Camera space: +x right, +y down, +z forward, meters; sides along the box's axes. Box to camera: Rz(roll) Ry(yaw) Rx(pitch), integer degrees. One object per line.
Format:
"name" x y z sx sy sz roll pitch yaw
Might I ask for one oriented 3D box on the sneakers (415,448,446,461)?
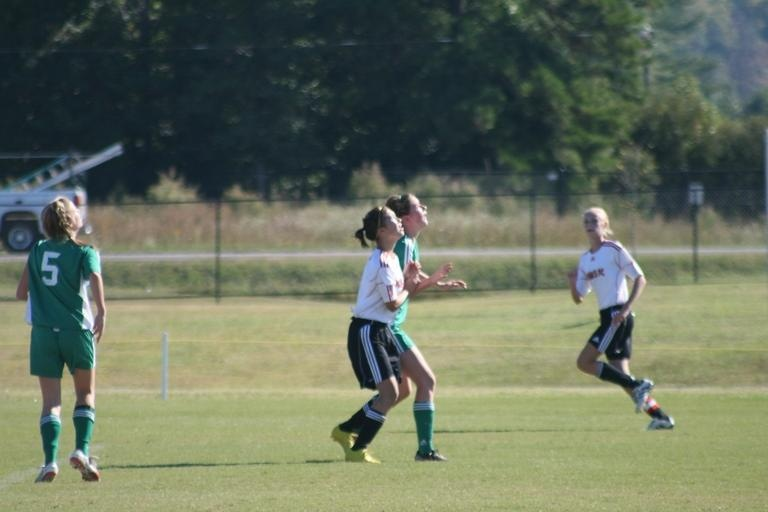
"sneakers" 0.624 2.770 24.916 0.485 0.184 0.151 1 -2 -2

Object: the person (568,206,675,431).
"person" 3.294 0.935 25.914 1.271 3.155 0.557 -3 2 8

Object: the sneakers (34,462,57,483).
"sneakers" -4.451 2.936 24.320 0.159 0.168 0.420 1 -26 -41

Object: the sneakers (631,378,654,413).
"sneakers" 3.661 1.998 25.802 0.267 0.505 0.201 -2 14 0

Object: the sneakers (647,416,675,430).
"sneakers" 3.905 2.390 25.675 0.296 0.198 0.111 -4 28 1
